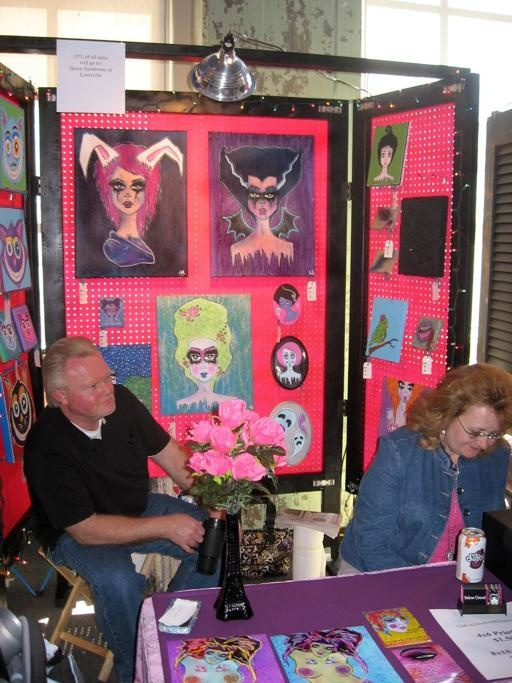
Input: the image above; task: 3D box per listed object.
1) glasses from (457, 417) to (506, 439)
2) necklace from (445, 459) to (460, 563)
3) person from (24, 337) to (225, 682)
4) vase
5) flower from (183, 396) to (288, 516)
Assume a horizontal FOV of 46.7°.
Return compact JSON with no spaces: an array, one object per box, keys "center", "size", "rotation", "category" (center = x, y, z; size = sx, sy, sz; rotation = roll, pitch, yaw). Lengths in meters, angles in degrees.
[{"center":[0.677,0.279,1.783],"size":[0.084,0.026,0.084],"rotation":[-2,38,-5],"category":"glasses"},{"center":[0.624,0.553,1.874],"size":[0.030,0.219,0.063],"rotation":[5,10,44],"category":"necklace"},{"center":[-0.509,0.580,2.297],"size":[0.704,1.190,0.615],"rotation":[-5,8,-26],"category":"person"},{"center":[-0.060,0.528,1.464],"size":[0.087,0.204,0.244],"rotation":[-2,7,-4],"category":"vase"},{"center":[-0.048,0.292,1.450],"size":[0.235,0.301,0.182],"rotation":[-2,7,-7],"category":"flower"}]
